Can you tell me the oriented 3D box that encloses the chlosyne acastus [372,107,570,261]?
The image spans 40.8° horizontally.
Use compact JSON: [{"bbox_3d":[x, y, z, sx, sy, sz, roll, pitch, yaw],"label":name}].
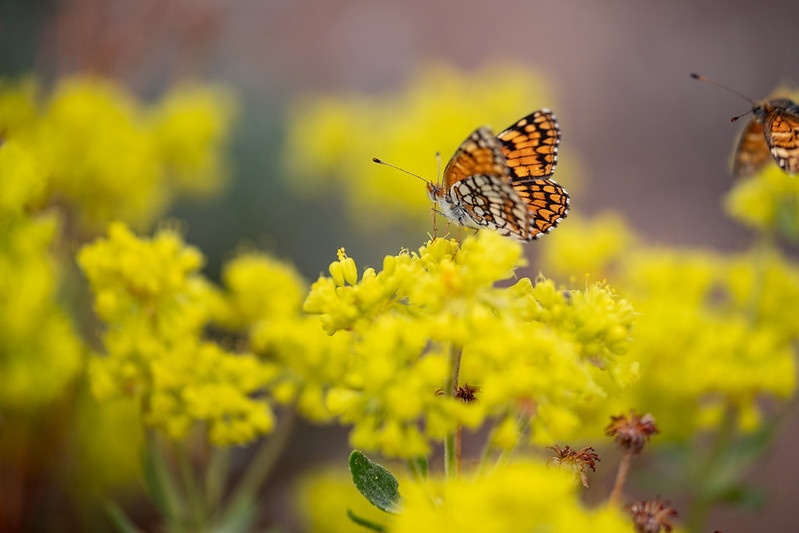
[{"bbox_3d":[0.125,-0.109,1.320,0.162,0.149,0.194,3,2,9],"label":"chlosyne acastus"}]
